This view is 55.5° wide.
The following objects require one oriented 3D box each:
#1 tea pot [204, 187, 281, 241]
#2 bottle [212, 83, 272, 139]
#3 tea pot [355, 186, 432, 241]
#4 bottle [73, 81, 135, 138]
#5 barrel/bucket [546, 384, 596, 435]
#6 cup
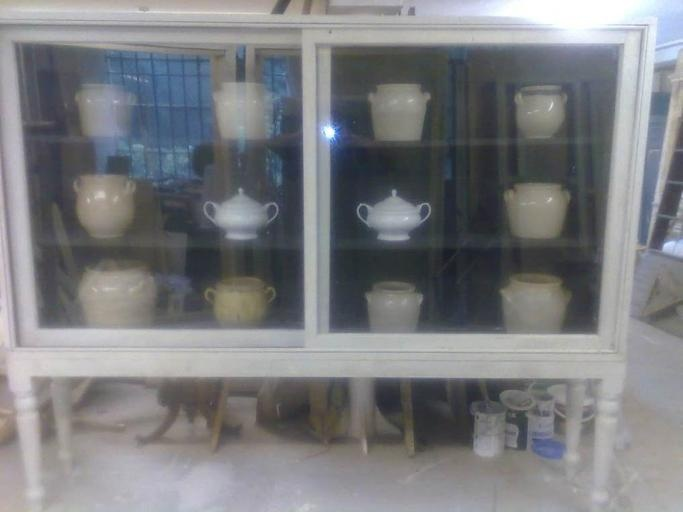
[{"bbox_3d":[-0.268,-0.105,1.747,0.184,0.135,0.137,1,17,3],"label":"tea pot"},{"bbox_3d":[-0.260,-0.393,1.728,0.143,0.132,0.081,0,5,5],"label":"bottle"},{"bbox_3d":[0.148,-0.103,1.706,0.201,0.135,0.127,0,17,2],"label":"tea pot"},{"bbox_3d":[-0.623,-0.388,1.722,0.146,0.136,0.047,0,17,9],"label":"bottle"},{"bbox_3d":[0.750,0.504,2.166,0.168,0.132,0.179,-2,18,1],"label":"barrel/bucket"},{"bbox_3d":[0.612,0.517,2.104,0.306,0.214,0.235,1,5,1],"label":"cup"}]
